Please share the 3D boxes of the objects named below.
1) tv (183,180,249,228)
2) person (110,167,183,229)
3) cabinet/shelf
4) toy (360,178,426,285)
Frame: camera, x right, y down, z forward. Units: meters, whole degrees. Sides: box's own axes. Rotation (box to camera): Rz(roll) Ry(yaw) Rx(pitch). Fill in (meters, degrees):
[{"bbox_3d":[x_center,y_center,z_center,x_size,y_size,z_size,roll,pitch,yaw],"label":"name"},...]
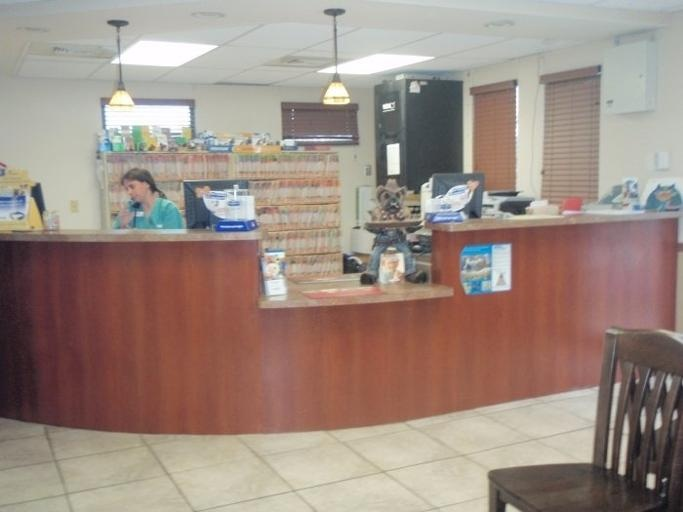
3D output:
[{"bbox_3d":[-1.123,-0.411,4.798,0.472,0.377,0.262,-7,17,-41],"label":"tv"},{"bbox_3d":[-1.657,-0.454,5.254,0.786,0.543,0.422,4,12,25],"label":"person"},{"bbox_3d":[-1.030,-0.561,7.660,2.035,1.550,0.612,-5,3,-23],"label":"cabinet/shelf"},{"bbox_3d":[0.371,-0.189,4.383,0.461,0.691,0.594,0,15,4],"label":"toy"}]
